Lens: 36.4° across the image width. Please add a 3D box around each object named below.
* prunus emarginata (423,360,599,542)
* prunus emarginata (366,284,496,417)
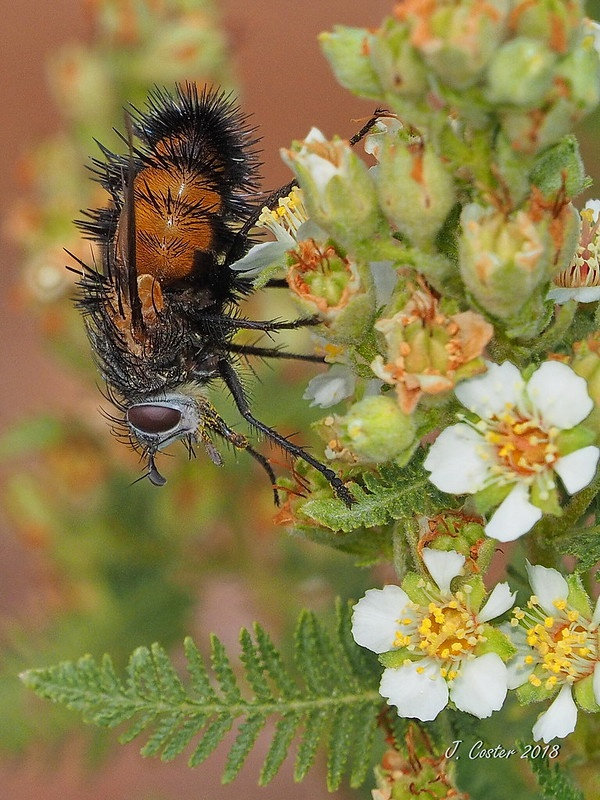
[{"bbox_3d":[0.321,0.073,1.391,0.258,0.241,0.164,-2,21,6],"label":"prunus emarginata"},{"bbox_3d":[0.196,-0.085,1.369,0.146,0.186,0.132,-10,22,-13],"label":"prunus emarginata"}]
